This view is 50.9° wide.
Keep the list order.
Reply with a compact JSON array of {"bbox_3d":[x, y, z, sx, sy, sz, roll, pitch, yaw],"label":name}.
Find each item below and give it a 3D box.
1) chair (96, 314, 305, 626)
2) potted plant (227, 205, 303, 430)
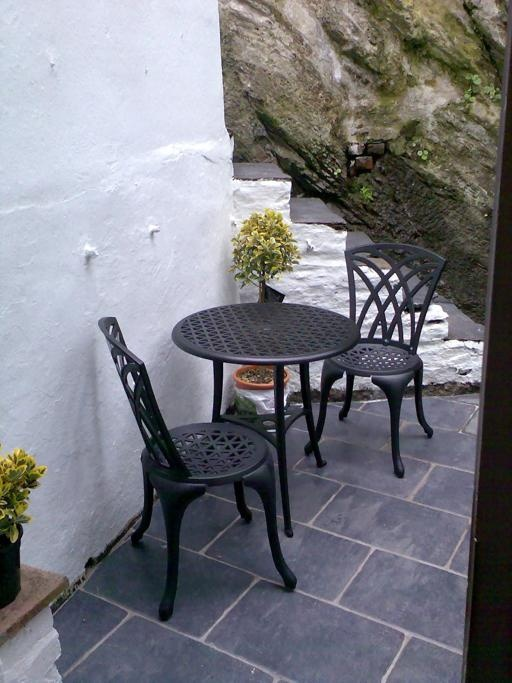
[{"bbox_3d":[-0.189,0.404,1.927,0.635,0.856,0.513,-6,16,-30],"label":"chair"},{"bbox_3d":[0.045,-0.354,2.882,0.349,0.641,0.278,1,14,4],"label":"potted plant"}]
